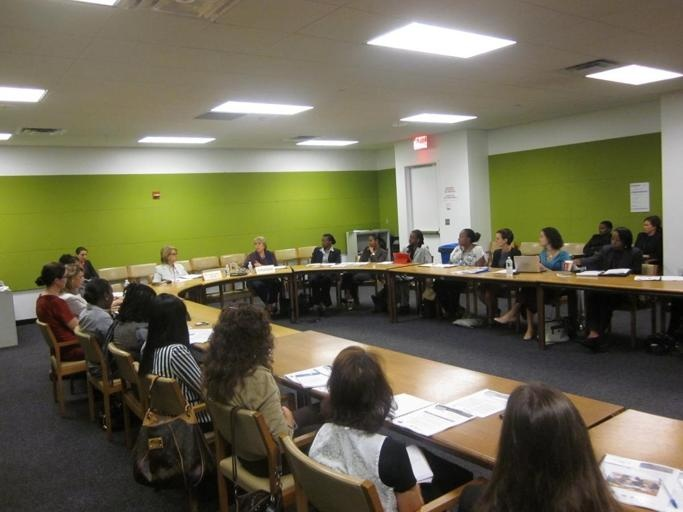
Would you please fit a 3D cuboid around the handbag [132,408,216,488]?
[{"bbox_3d":[-1.023,1.129,2.906,0.522,0.462,0.303,-6,-4,21],"label":"handbag"}]

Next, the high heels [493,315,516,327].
[{"bbox_3d":[2.187,0.867,6.550,0.238,0.171,0.104,20,-3,-15],"label":"high heels"}]

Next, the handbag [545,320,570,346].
[{"bbox_3d":[2.519,0.892,5.746,0.278,0.213,0.264,-3,0,-44],"label":"handbag"}]

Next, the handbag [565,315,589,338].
[{"bbox_3d":[2.825,0.848,5.923,0.263,0.347,0.133,-3,-2,-27],"label":"handbag"}]

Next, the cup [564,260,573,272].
[{"bbox_3d":[2.711,0.114,5.881,0.123,0.157,0.120,1,-4,0],"label":"cup"}]

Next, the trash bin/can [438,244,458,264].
[{"bbox_3d":[2.099,-0.089,9.619,0.489,0.375,0.362,0,0,6],"label":"trash bin/can"}]
